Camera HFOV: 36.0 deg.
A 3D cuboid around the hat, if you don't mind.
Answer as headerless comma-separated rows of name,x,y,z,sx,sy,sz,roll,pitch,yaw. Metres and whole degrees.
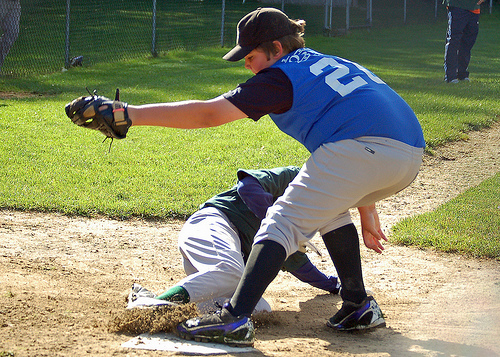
hat,0.047,-1.535,8.260,0.722,0.393,0.468,-23,15,0
